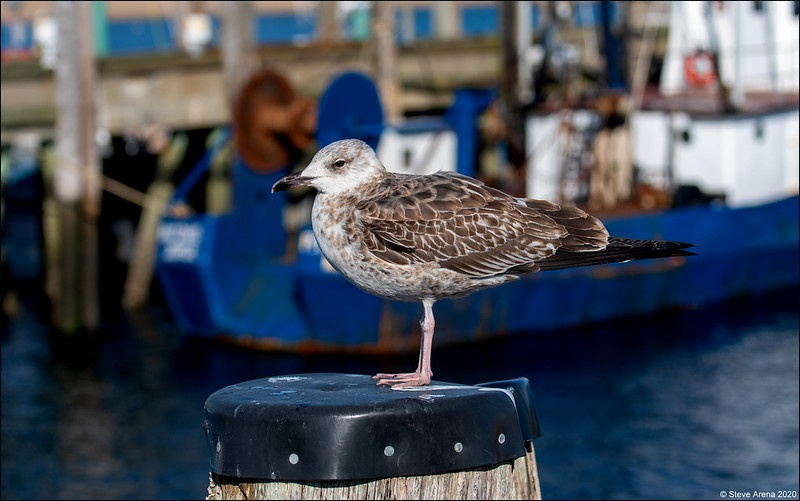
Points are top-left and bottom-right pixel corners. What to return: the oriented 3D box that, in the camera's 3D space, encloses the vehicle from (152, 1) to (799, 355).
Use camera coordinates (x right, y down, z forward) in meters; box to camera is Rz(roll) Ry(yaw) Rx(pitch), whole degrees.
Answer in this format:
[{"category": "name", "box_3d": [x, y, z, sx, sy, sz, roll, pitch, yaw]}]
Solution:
[{"category": "vehicle", "box_3d": [2.261, -1.592, 35.619, 15.146, 5.496, 6.647, -5, 11, 0]}]
